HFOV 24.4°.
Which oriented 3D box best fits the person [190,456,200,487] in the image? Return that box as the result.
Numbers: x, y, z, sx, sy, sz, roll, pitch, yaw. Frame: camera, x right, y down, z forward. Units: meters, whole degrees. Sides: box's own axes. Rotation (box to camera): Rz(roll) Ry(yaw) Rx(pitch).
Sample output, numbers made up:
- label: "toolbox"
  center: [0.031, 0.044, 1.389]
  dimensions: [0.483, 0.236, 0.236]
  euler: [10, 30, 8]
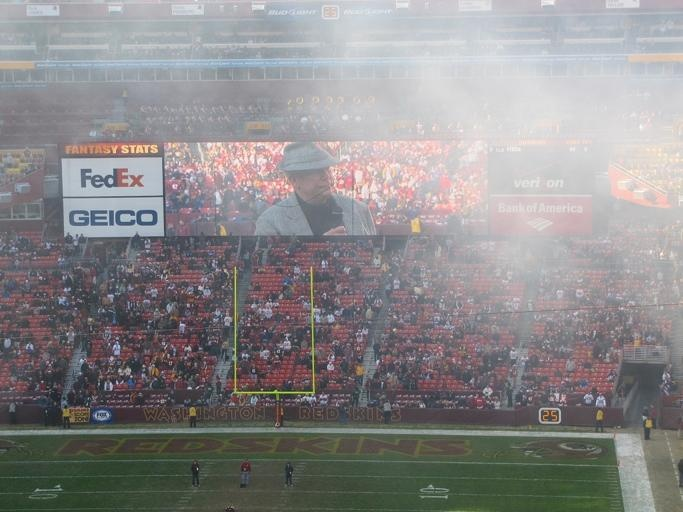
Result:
- label: "person"
  center: [-7.888, 11.539, 85.209]
  dimensions: [0.412, 1.479, 1.276]
  euler: [-2, 10, -5]

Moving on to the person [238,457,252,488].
- label: "person"
  center: [-5.234, 11.480, 85.306]
  dimensions: [0.600, 1.507, 1.486]
  euler: [-1, 9, -1]

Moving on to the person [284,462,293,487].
- label: "person"
  center: [-2.844, 11.598, 85.221]
  dimensions: [0.391, 1.241, 1.080]
  euler: [-1, 10, -1]
